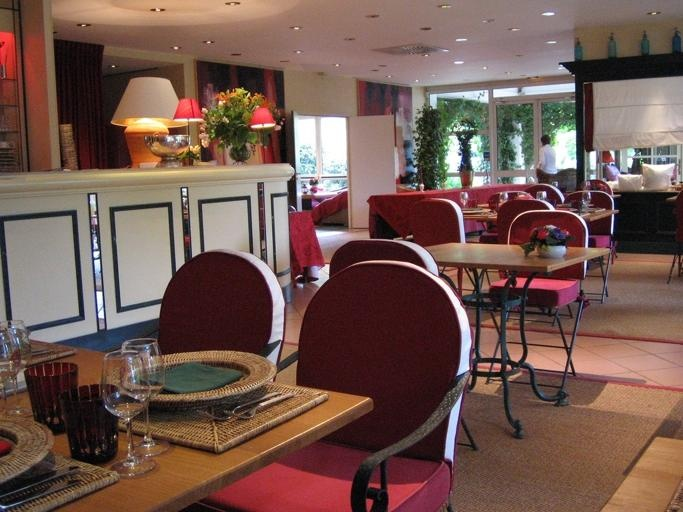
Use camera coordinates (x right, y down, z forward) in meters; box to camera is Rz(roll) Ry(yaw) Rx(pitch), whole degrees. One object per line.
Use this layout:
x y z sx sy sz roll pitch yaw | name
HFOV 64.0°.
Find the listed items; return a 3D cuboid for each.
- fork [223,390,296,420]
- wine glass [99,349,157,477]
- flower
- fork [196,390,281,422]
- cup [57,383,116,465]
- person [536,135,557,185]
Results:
-0.187 0.329 1.252 0.047 0.011 0.137 2 5 29 | fork
-0.428 0.290 1.087 0.085 0.216 0.250 -7 11 -25 | wine glass
-0.990 -1.247 4.929 0.553 0.531 0.301 -2 10 -1 | flower
-0.238 0.323 1.237 0.053 0.017 0.162 8 11 33 | fork
-0.478 0.339 1.129 0.131 0.148 0.137 -2 -1 0 | cup
4.593 -2.176 12.196 0.395 1.061 1.176 2 10 20 | person
